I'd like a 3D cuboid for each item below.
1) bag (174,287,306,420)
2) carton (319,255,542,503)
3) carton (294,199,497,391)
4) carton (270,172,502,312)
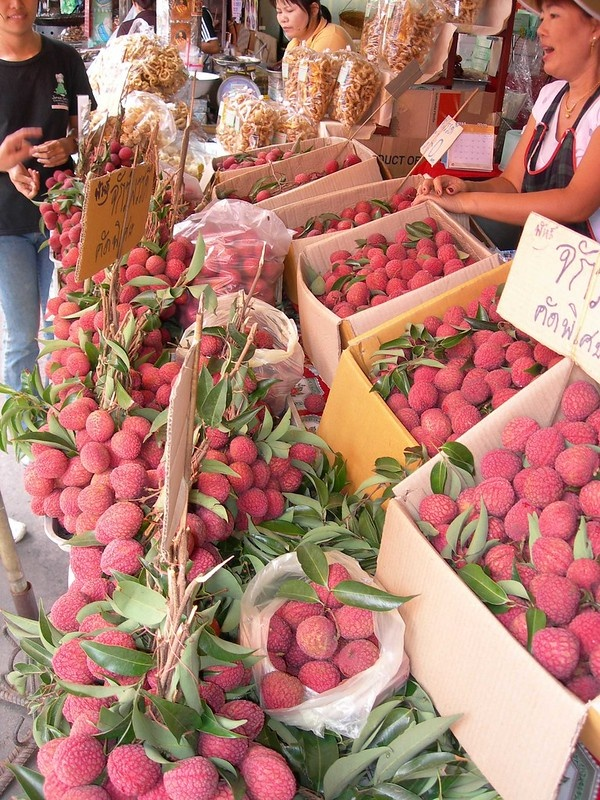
[{"bbox_3d":[-0.119,-0.090,1.151,0.184,0.230,0.234,-42,83,-20],"label":"bag"},{"bbox_3d":[0.364,-0.007,1.439,0.577,0.205,0.426,-34,35,-2],"label":"carton"},{"bbox_3d":[0.302,-0.372,1.798,0.628,0.400,0.472,-23,50,-12],"label":"carton"},{"bbox_3d":[0.291,-0.639,2.256,0.657,0.230,0.490,-20,54,1],"label":"carton"}]
